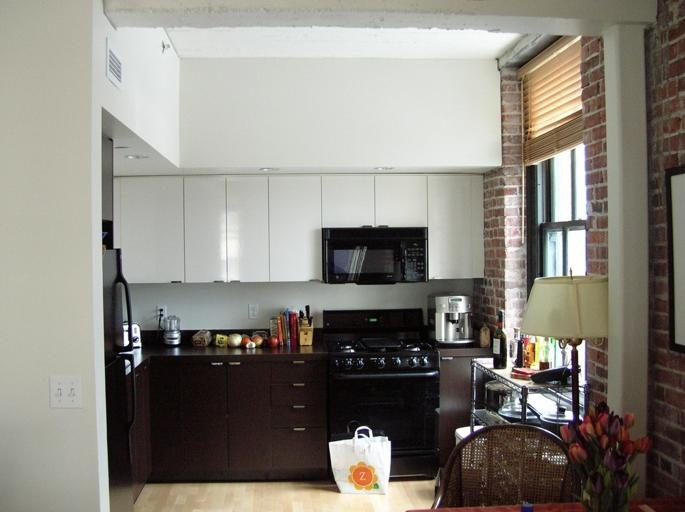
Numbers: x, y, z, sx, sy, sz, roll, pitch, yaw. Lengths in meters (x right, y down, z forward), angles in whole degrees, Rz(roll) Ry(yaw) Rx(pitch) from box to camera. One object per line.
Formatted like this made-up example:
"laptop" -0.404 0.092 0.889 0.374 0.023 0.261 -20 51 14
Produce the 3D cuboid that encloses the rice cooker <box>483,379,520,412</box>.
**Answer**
"rice cooker" 1.130 0.997 4.123 0.195 0.094 0.275 0 1 4

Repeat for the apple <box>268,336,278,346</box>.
"apple" -0.535 0.670 4.570 0.069 0.070 0.068 2 2 29

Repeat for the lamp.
"lamp" 1.093 0.441 2.845 0.425 0.696 0.265 -2 -2 4

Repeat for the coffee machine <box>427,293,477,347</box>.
"coffee machine" 0.863 0.494 4.568 0.262 0.342 0.394 0 -2 -8

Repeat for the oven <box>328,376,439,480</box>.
"oven" 0.326 1.202 4.585 0.842 0.859 0.622 -1 9 5

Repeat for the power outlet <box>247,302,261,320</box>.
"power outlet" -0.738 0.459 4.861 0.129 0.197 0.020 1 -4 -6

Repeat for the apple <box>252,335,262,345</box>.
"apple" -0.666 0.661 4.584 0.067 0.061 0.056 9 -12 -30

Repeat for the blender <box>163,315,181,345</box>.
"blender" -1.363 0.604 4.678 0.123 0.232 0.146 -1 -2 -23

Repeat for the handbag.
"handbag" 0.125 1.468 4.145 0.443 0.471 0.226 0 -4 1

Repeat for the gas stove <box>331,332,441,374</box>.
"gas stove" 0.309 0.772 4.537 0.807 0.221 0.493 -2 -2 -2
